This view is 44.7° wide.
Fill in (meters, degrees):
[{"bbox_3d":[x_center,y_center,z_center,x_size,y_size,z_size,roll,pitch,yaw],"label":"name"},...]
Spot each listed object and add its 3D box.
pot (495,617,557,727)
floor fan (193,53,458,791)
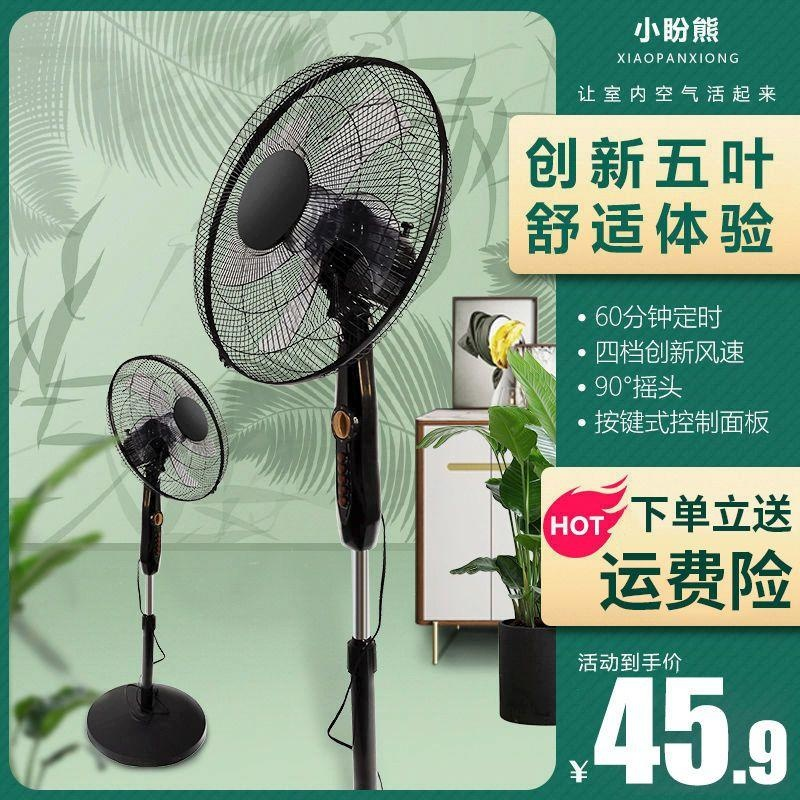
[{"bbox_3d":[0.322,0.680,2.460,0.189,0.255,0.215,-1,-7,7],"label":"pot"},{"bbox_3d":[-0.174,0.125,1.933,0.531,1.543,0.278,11,17,37],"label":"floor fan"}]
